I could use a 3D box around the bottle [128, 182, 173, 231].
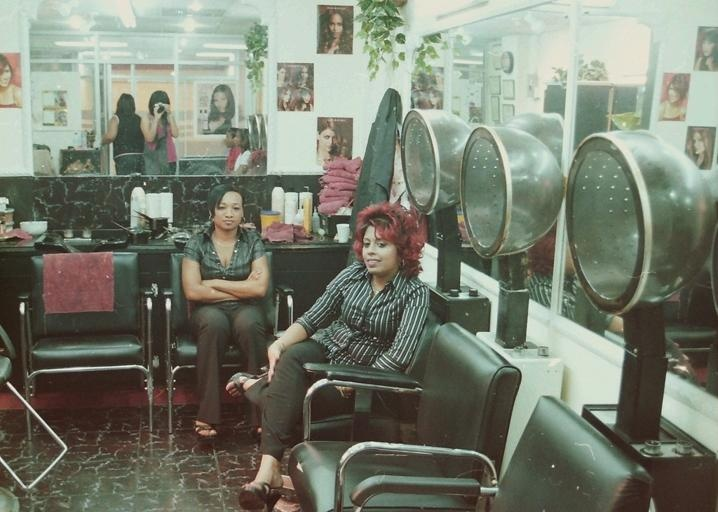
[{"bbox_3d":[-1.494,-0.358,5.029,0.356,0.392,0.228,0,2,-27],"label":"bottle"}]

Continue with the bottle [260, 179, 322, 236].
[{"bbox_3d":[-0.496,-0.327,5.302,0.395,0.466,0.327,5,5,34],"label":"bottle"}]

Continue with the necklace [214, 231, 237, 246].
[{"bbox_3d":[-0.839,-0.109,4.376,0.082,0.101,0.112,2,4,-3],"label":"necklace"}]

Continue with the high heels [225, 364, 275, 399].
[{"bbox_3d":[-0.541,0.644,3.558,0.236,0.153,0.084,-6,10,35],"label":"high heels"}]

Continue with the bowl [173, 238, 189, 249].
[{"bbox_3d":[-1.179,-0.088,4.647,0.086,0.059,0.087,0,15,0],"label":"bowl"}]

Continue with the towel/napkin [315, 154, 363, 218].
[{"bbox_3d":[-0.144,-0.515,5.192,0.369,0.394,0.153,0,-9,-1],"label":"towel/napkin"}]

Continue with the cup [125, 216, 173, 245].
[{"bbox_3d":[-1.452,-0.177,4.876,0.160,0.113,0.277,1,9,0],"label":"cup"}]

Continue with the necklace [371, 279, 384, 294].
[{"bbox_3d":[0.093,0.156,3.543,0.058,0.070,0.069,-1,-13,10],"label":"necklace"}]

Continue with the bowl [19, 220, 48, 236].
[{"bbox_3d":[-2.204,-0.187,4.823,0.117,0.066,0.123,1,-1,0],"label":"bowl"}]

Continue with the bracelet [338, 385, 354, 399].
[{"bbox_3d":[-0.067,0.624,3.235,0.044,0.057,0.081,-12,-26,41],"label":"bracelet"}]

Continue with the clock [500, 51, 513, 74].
[{"bbox_3d":[0.768,-0.996,3.637,0.033,0.109,0.105,-3,25,-12],"label":"clock"}]

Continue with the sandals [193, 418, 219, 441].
[{"bbox_3d":[-0.898,0.991,4.130,0.135,0.117,0.142,-2,11,-12],"label":"sandals"}]

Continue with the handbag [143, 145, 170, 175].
[{"bbox_3d":[-1.476,-0.701,5.111,0.171,0.252,0.130,-3,11,3],"label":"handbag"}]

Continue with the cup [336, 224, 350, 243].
[{"bbox_3d":[-0.110,-0.161,5.006,0.124,0.122,0.085,1,-1,-9],"label":"cup"}]
